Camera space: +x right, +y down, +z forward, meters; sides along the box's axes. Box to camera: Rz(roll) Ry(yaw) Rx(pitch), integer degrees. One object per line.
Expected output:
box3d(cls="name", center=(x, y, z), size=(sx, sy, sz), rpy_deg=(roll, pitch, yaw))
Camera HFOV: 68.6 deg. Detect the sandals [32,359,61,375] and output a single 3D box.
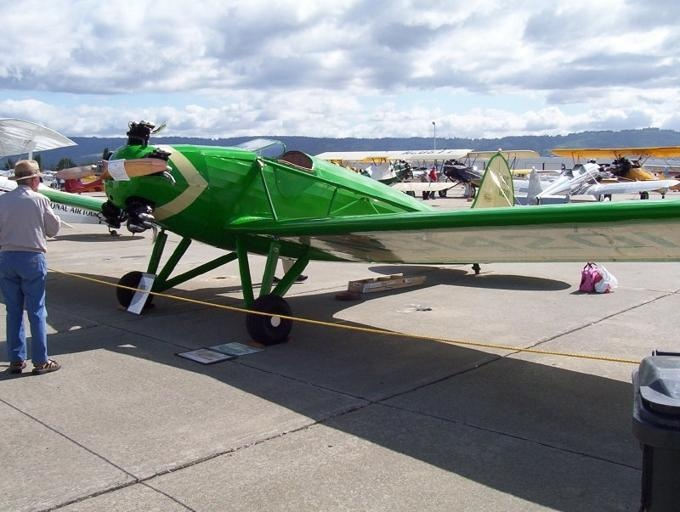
box3d(cls="sandals", center=(-2.670, 1.011, 4.576), size=(0.098, 0.065, 0.226), rpy_deg=(8, 8, 23))
